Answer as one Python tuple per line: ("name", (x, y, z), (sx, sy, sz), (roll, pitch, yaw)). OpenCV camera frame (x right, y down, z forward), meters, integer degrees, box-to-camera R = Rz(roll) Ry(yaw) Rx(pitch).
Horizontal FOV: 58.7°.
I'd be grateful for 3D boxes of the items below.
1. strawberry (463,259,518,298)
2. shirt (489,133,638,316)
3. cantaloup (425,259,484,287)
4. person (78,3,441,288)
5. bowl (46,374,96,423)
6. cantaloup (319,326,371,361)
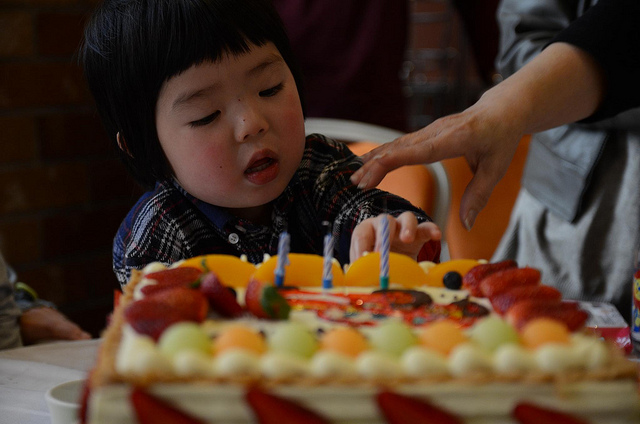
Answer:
("strawberry", (0.438, 0.156, 1.457), (0.099, 0.038, 0.101), (-25, 34, 3))
("shirt", (0.830, 0.052, 1.980), (0.344, 0.607, 0.457), (0, 15, 2))
("cantaloup", (0.346, 0.146, 1.500), (0.109, 0.070, 0.139), (0, 14, 0))
("person", (-0.226, -0.210, 1.799), (1.030, 0.838, 0.503), (3, 36, 9))
("bowl", (-0.526, 0.393, 1.237), (0.110, 0.082, 0.109), (1, 1, 0))
("cantaloup", (0.051, 0.252, 1.136), (0.077, 0.053, 0.044), (-4, 15, -25))
